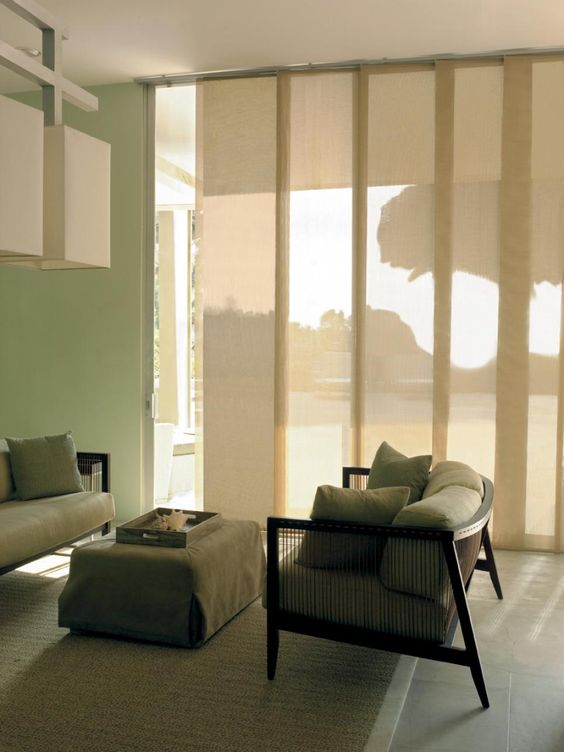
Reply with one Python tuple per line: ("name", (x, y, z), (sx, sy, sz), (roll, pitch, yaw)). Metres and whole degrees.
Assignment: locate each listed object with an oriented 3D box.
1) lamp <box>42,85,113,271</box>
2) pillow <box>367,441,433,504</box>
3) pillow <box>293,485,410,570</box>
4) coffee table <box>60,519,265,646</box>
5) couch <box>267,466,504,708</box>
("lamp", (-0.542, -0.479, 2.020), (0.082, 0.350, 0.267), (1, 1, 20))
("pillow", (0.551, 0.398, 3.498), (0.163, 0.325, 0.317), (10, -5, -34))
("pillow", (0.246, 0.552, 2.671), (0.291, 0.342, 0.119), (13, 5, -26))
("coffee table", (-0.443, 0.893, 3.352), (0.428, 0.282, 0.642), (-1, -2, 19))
("couch", (0.546, 0.761, 3.299), (0.799, 0.770, 1.561), (2, 0, 17))
